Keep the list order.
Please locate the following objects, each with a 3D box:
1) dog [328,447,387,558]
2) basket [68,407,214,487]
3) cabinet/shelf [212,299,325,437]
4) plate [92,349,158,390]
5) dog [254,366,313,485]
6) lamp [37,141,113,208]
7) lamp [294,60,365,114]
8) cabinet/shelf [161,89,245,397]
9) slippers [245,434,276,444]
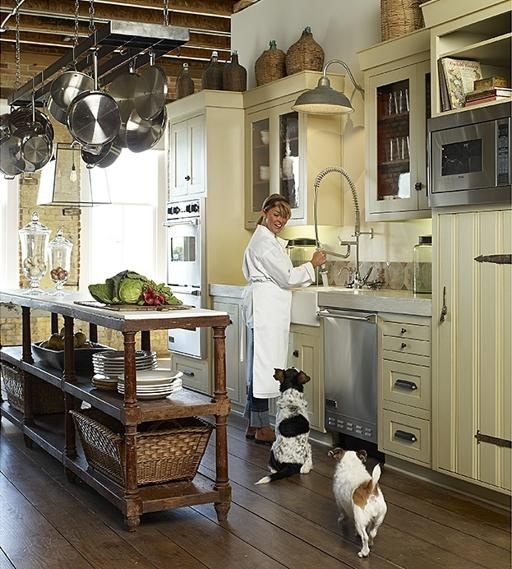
[{"bbox_3d":[0.406,0.811,2.016,0.164,0.303,0.526,3,-4,-2],"label":"dog"},{"bbox_3d":[-0.539,0.763,2.418,0.460,0.277,0.690,2,-5,-34],"label":"basket"},{"bbox_3d":[0.235,0.657,3.998,0.399,0.950,1.144,6,-7,-40],"label":"cabinet/shelf"},{"bbox_3d":[-0.672,0.413,2.548,0.223,0.087,0.215,1,-1,18],"label":"plate"},{"bbox_3d":[0.156,0.764,2.824,0.285,0.617,0.300,-1,-4,8],"label":"dog"},{"bbox_3d":[-1.402,-0.760,3.935,0.561,0.517,0.554,-1,4,-22],"label":"lamp"},{"bbox_3d":[0.578,-1.388,3.572,0.590,0.341,0.346,-1,9,-27],"label":"lamp"},{"bbox_3d":[-0.470,-0.339,5.390,0.794,2.938,1.253,-2,6,-29],"label":"cabinet/shelf"},{"bbox_3d":[0.030,1.066,3.550,0.205,0.085,0.073,0,2,-5],"label":"slippers"}]
